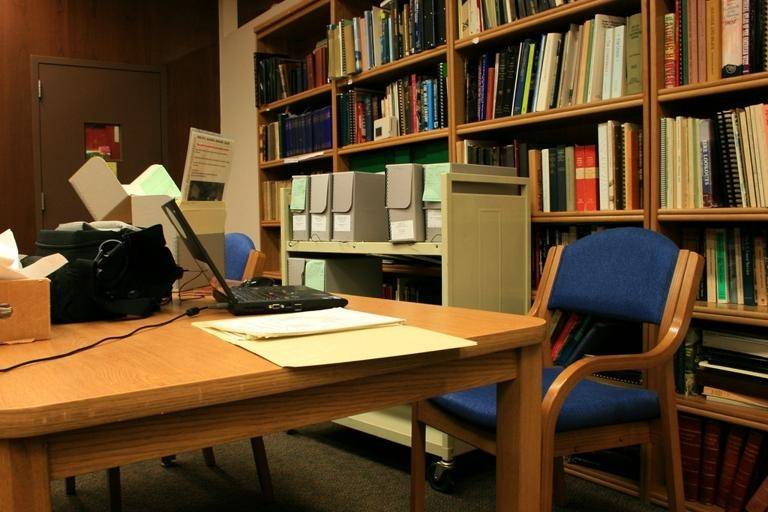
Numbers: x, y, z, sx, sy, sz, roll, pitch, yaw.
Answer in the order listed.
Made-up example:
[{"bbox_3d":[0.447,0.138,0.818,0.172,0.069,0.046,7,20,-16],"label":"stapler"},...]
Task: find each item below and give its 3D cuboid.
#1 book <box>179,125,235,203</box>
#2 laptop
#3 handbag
[{"bbox_3d":[-0.632,-0.326,2.331,0.075,0.260,0.221,6,11,39],"label":"book"},{"bbox_3d":[-0.398,-0.033,1.939,0.420,0.257,0.432,-3,7,-24],"label":"laptop"},{"bbox_3d":[-0.822,0.019,1.942,0.287,0.139,0.362,-2,10,-33],"label":"handbag"}]
